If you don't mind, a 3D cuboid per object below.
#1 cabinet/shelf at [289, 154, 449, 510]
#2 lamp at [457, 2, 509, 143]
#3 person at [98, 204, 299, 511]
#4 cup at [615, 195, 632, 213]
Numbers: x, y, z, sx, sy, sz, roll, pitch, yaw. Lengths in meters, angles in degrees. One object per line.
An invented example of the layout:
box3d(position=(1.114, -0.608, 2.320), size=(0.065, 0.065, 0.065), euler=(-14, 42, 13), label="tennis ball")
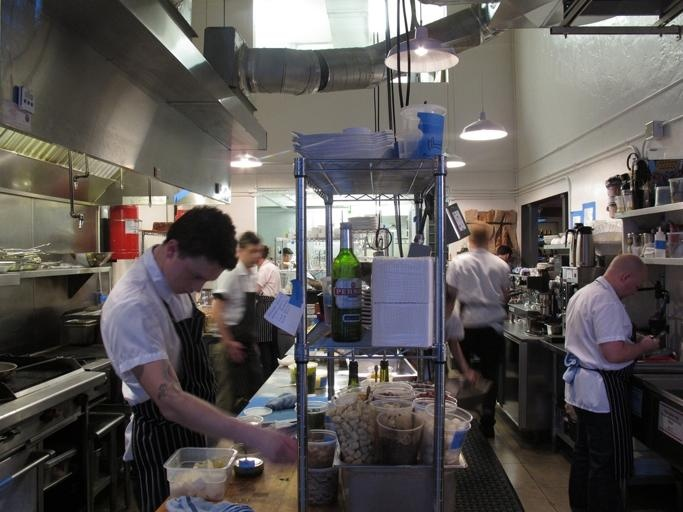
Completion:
box3d(position=(0.046, 0.338, 3.270), size=(0.635, 1.495, 2.157), euler=(-1, -1, -5), label="cabinet/shelf")
box3d(position=(1.384, -1.479, 5.368), size=(0.409, 0.625, 0.414), euler=(-1, -1, 29), label="lamp")
box3d(position=(-0.678, 0.483, 2.582), size=(0.843, 1.431, 0.587), euler=(-1, -1, 2), label="person")
box3d(position=(2.165, -0.405, 4.231), size=(0.109, 0.122, 0.068), euler=(0, -3, 6), label="cup")
